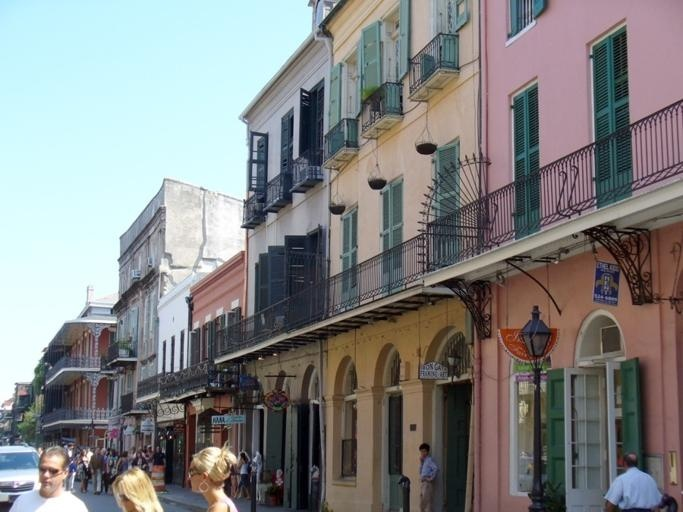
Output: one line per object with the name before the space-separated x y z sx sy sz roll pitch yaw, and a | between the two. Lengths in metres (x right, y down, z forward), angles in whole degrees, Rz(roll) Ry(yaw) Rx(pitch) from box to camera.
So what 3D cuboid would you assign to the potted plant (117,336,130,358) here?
potted plant | -12.771 5.373 59.508 0.754 1.211 0.837 0 -10 -5
